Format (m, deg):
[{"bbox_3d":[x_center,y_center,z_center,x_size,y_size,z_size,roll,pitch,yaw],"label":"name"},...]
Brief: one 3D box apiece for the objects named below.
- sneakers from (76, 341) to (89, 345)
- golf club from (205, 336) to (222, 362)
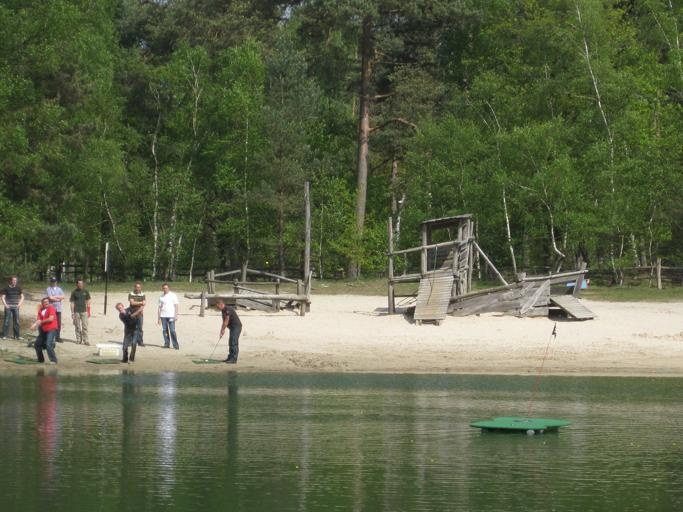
[{"bbox_3d":[-14.257,4.823,89.199,0.732,0.279,0.214,-5,1,14],"label":"sneakers"},{"bbox_3d":[-7.051,5.177,88.824,0.289,0.200,1.877,21,-57,-40],"label":"golf club"}]
